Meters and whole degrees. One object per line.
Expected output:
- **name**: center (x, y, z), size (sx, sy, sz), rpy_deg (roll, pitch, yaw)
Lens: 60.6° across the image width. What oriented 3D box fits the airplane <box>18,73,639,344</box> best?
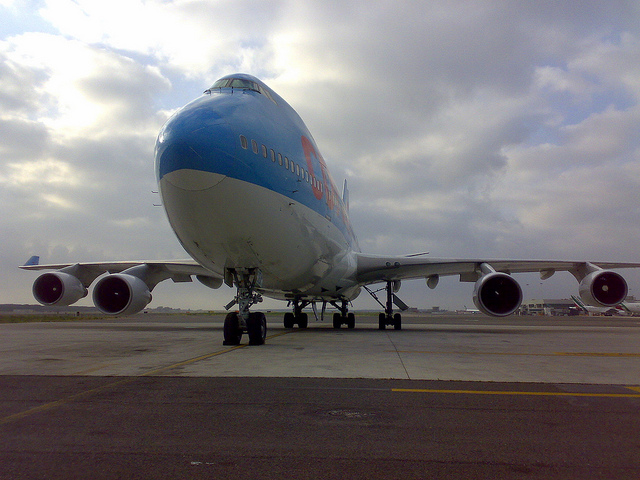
- **airplane**: center (-1.716, -0.535, 16.148), size (13.245, 4.012, 11.100), rpy_deg (0, -4, 14)
